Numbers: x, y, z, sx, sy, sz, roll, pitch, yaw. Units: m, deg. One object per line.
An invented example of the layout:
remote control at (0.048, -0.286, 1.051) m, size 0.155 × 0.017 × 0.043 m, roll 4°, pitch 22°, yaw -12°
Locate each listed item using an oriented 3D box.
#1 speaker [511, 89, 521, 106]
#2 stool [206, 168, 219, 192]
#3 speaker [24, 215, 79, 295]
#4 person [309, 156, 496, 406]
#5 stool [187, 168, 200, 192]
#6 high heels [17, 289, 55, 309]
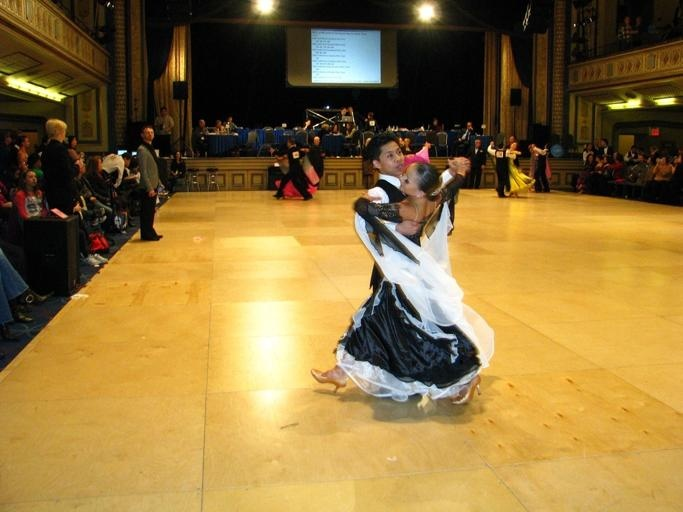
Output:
speaker at (7.229, -6.583, 21.466) m, size 0.517 × 0.736 × 0.450 m, roll 2°, pitch 12°, yaw 10°
stool at (-4.387, -2.615, 17.603) m, size 0.424 × 0.744 × 0.244 m, roll -4°, pitch 12°, yaw -20°
speaker at (-2.994, 0.002, 5.384) m, size 0.510 × 0.811 × 0.378 m, roll -8°, pitch 13°, yaw -32°
person at (0.404, 0.108, 3.189) m, size 1.100 × 1.419 × 0.826 m, roll 2°, pitch 15°, yaw 2°
stool at (-4.970, -2.553, 17.406) m, size 0.439 × 0.702 × 0.294 m, roll -3°, pitch 12°, yaw -15°
high heels at (-3.015, 0.389, 5.165) m, size 0.200 × 0.148 × 0.380 m, roll 0°, pitch 12°, yaw 1°
